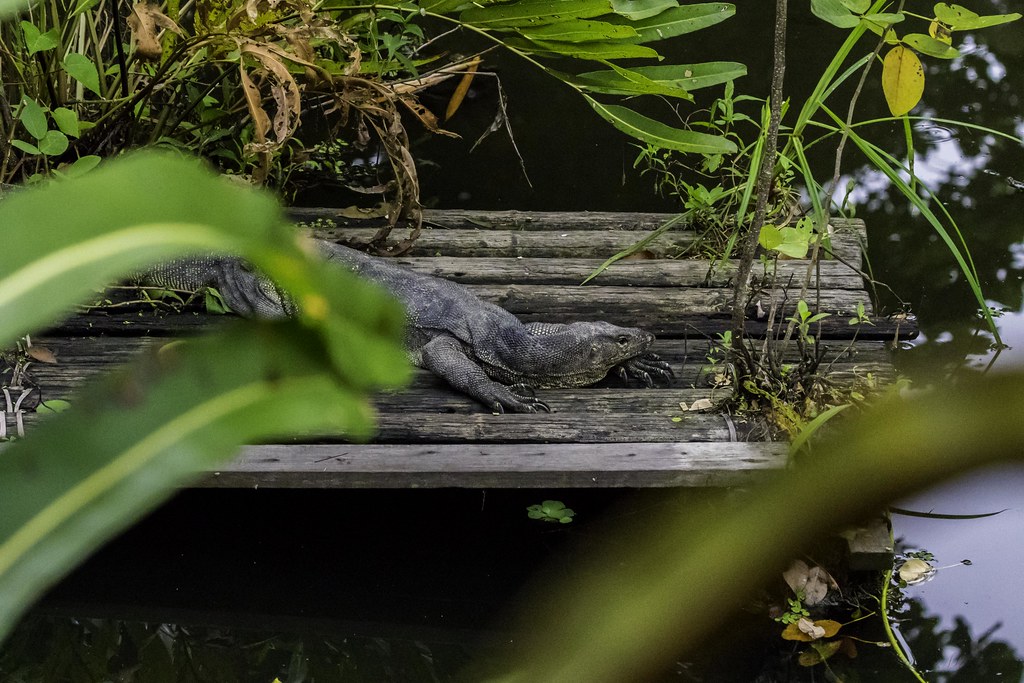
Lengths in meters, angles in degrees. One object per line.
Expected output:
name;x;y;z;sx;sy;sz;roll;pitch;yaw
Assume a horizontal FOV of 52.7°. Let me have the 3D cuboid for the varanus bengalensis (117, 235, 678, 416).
varanus bengalensis;-0.532;-0.070;4.472;2.349;0.392;0.875;12;28;17
